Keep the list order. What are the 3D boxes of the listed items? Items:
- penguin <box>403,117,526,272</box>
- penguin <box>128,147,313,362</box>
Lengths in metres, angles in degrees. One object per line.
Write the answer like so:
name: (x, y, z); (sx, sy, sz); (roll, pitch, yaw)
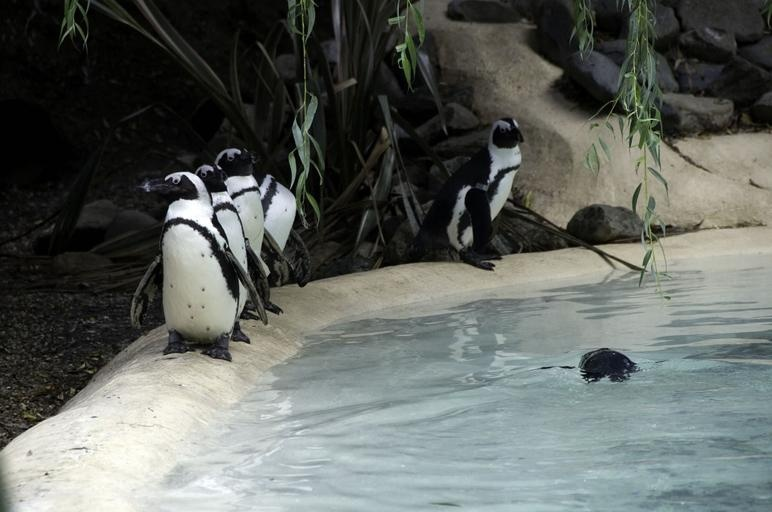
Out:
penguin: (0.676, -0.404, 7.122); (1.065, 1.085, 1.608); (3, -12, 0)
penguin: (-0.898, -0.014, 5.353); (1.279, 1.322, 1.063); (1, 6, -8)
